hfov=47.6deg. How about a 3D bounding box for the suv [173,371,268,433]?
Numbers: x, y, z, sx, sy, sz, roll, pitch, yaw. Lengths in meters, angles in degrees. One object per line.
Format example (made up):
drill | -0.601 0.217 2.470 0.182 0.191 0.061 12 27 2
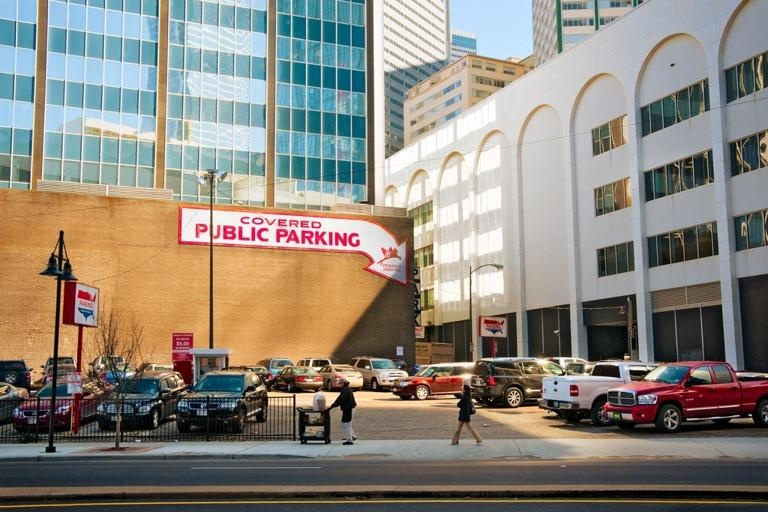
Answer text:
suv | -8.397 7.570 45.705 2.891 3.284 4.578 -8 -13 31

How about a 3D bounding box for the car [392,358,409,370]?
car | 1.306 8.785 70.090 1.124 0.700 1.780 2 -5 -3

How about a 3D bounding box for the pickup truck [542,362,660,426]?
pickup truck | 12.985 7.303 47.369 8.373 3.201 3.392 0 -5 -22

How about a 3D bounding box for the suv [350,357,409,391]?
suv | -0.445 8.949 65.806 2.274 2.167 5.435 2 -4 -23

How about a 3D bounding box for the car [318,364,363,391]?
car | -3.516 9.215 66.097 2.143 1.442 4.493 1 -4 -14

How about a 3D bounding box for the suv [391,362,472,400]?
suv | 3.262 8.583 57.733 7.369 2.621 2.995 1 -3 -18

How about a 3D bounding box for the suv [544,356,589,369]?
suv | 12.056 7.244 56.745 2.855 0.927 1.356 -3 1 -16

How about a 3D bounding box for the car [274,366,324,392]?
car | -6.441 8.976 63.656 3.564 1.858 1.652 -12 -15 42

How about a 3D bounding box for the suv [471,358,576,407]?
suv | 9.280 7.424 53.177 6.998 2.548 3.020 -1 3 -10
